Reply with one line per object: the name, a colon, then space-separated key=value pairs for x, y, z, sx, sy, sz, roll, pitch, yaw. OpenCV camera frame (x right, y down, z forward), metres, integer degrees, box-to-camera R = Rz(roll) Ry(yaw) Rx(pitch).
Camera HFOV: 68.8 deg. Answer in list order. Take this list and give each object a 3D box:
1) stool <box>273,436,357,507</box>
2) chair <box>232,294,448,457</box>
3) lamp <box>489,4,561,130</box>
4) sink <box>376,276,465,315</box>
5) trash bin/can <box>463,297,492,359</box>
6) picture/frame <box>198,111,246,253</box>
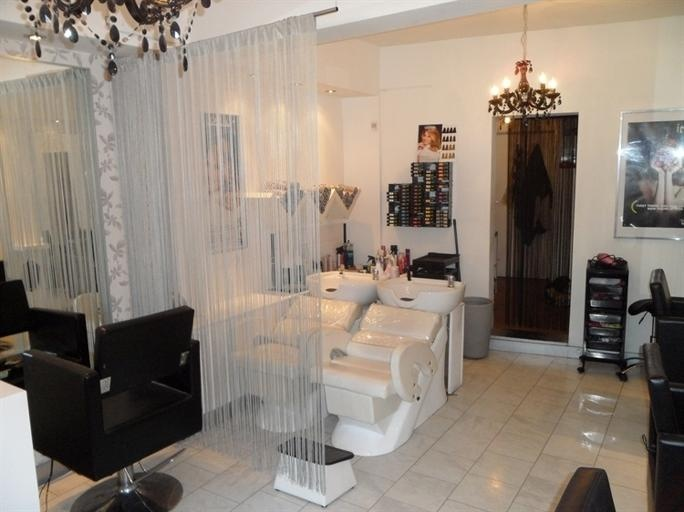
stool: x=-0.190 y=1.318 z=3.350 sx=0.529 sy=0.296 sz=0.425 roll=6 pitch=11 yaw=39
chair: x=0.118 y=0.898 z=3.777 sx=1.075 sy=0.926 sz=1.422 roll=0 pitch=-1 yaw=31
lamp: x=1.793 y=-1.853 z=4.963 sx=0.738 sy=1.041 sz=1.447 roll=4 pitch=13 yaw=22
sink: x=0.725 y=0.348 z=4.432 sx=0.535 sy=0.229 sz=0.384 roll=6 pitch=14 yaw=40
trash bin/can: x=1.505 y=0.808 z=5.601 sx=0.304 sy=0.632 sz=0.329 roll=3 pitch=13 yaw=14
picture/frame: x=-0.813 y=-0.491 z=3.398 sx=0.362 sy=0.944 sz=0.112 roll=7 pitch=15 yaw=31
